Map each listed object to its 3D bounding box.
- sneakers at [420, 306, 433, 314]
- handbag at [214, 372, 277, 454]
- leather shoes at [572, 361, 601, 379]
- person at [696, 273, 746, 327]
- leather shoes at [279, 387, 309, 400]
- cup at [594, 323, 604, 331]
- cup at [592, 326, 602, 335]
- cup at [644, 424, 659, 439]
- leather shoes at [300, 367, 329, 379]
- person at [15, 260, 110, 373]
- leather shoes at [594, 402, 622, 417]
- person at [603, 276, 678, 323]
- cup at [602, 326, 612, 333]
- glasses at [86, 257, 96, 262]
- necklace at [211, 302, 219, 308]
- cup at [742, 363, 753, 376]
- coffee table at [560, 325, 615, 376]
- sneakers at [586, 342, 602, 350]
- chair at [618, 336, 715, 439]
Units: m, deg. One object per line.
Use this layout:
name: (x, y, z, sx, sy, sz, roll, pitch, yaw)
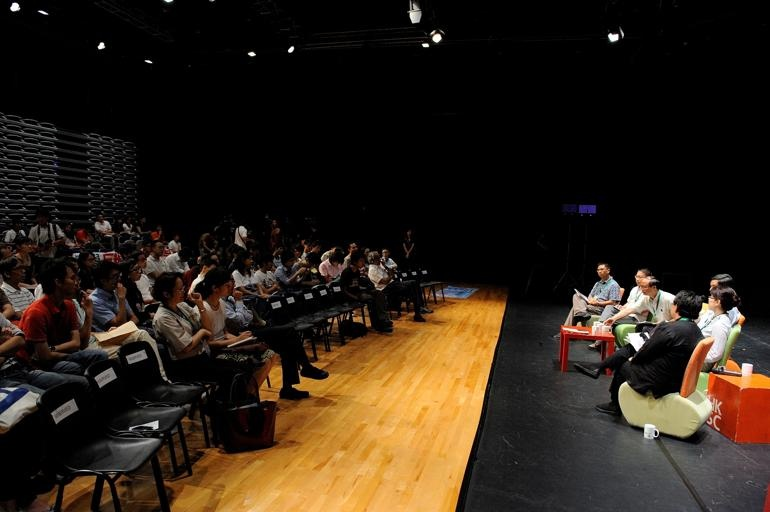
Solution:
sneakers: (0.978, 1.303, 11.393, 0.370, 0.147, 0.119, -1, 3, -38)
handbag: (-1.650, 1.837, 5.470, 0.836, 1.029, 0.460, 2, -18, -27)
leather shoes: (3.105, 1.783, 7.368, 0.397, 0.143, 0.272, 19, 47, 27)
person: (5.864, 0.765, 8.330, 0.699, 1.304, 0.682, 4, -33, 35)
leather shoes: (-1.295, 1.924, 6.659, 0.360, 0.129, 0.178, -1, 0, 0)
cup: (3.530, 1.174, 7.889, 0.127, 0.196, 0.127, 3, 0, 0)
cup: (3.489, 1.233, 7.844, 0.139, 0.140, 0.127, 0, -7, 0)
cup: (3.288, 2.199, 5.953, 0.127, 0.131, 0.199, 14, -12, -34)
leather shoes: (-1.072, 1.747, 7.065, 0.388, 0.144, 0.188, 2, -1, 10)
person: (-3.676, 0.718, 5.520, 1.067, 1.292, 0.892, 9, 5, 18)
leather shoes: (3.042, 2.087, 6.482, 0.327, 0.144, 0.131, 8, -9, 43)
person: (4.205, 0.822, 7.885, 1.224, 0.703, 0.762, -6, -2, 30)
cup: (3.687, 1.212, 7.879, 0.149, 0.138, 0.150, 0, 2, 0)
glasses: (-4.652, 0.046, 7.468, 0.077, 0.059, 0.093, 25, 4, 23)
necklace: (-2.155, 0.616, 5.992, 0.060, 0.055, 0.046, 15, 16, -25)
cup: (4.612, 1.444, 6.046, 0.104, 0.164, 0.170, 12, 16, 39)
coffee table: (3.354, 1.589, 8.085, 0.862, 0.595, 0.841, 0, -6, 9)
sneakers: (3.930, 1.692, 8.928, 0.110, 0.130, 0.315, 18, -10, -21)
chair: (3.684, 1.757, 6.646, 1.398, 1.496, 0.936, 3, 1, 38)
